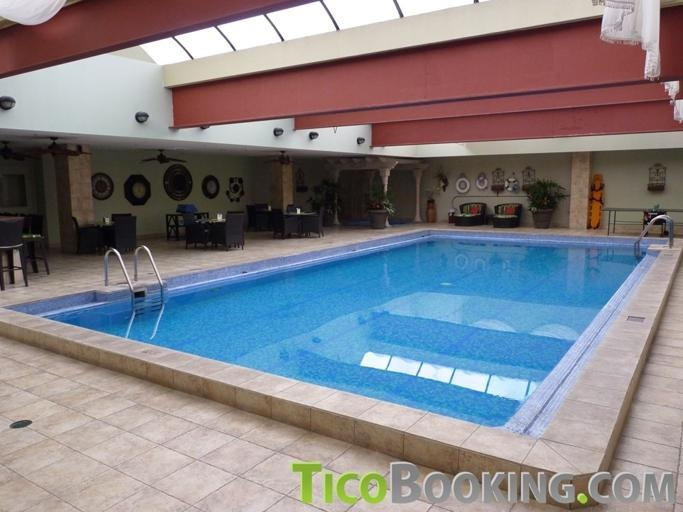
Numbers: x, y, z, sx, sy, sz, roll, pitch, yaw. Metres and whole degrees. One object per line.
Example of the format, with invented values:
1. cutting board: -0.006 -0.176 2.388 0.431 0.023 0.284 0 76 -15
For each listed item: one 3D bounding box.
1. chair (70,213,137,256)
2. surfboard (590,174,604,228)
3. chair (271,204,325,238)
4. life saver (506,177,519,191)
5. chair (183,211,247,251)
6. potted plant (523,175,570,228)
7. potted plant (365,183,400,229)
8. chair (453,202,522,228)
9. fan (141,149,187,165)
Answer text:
1. chair: -6.625 -0.587 12.156 1.264 0.872 1.300 1 8 8
2. surfboard: 10.791 -2.331 17.999 0.747 2.295 0.403 -3 6 -14
3. chair: -1.572 -1.215 15.758 1.354 0.799 1.347 3 4 44
4. life saver: 8.040 -3.334 19.844 0.550 0.632 0.096 2 7 31
5. chair: -3.847 -0.801 13.280 1.882 1.282 1.090 4 5 33
6. potted plant: 8.861 -2.380 18.952 1.757 2.229 1.667 -6 7 -35
7. potted plant: 1.712 -2.254 18.966 1.067 2.020 1.424 -1 6 3
8. chair: 6.853 -1.914 19.690 2.844 1.162 1.736 1 7 23
9. fan: -6.488 -3.591 15.293 1.247 0.480 1.279 4 8 26
